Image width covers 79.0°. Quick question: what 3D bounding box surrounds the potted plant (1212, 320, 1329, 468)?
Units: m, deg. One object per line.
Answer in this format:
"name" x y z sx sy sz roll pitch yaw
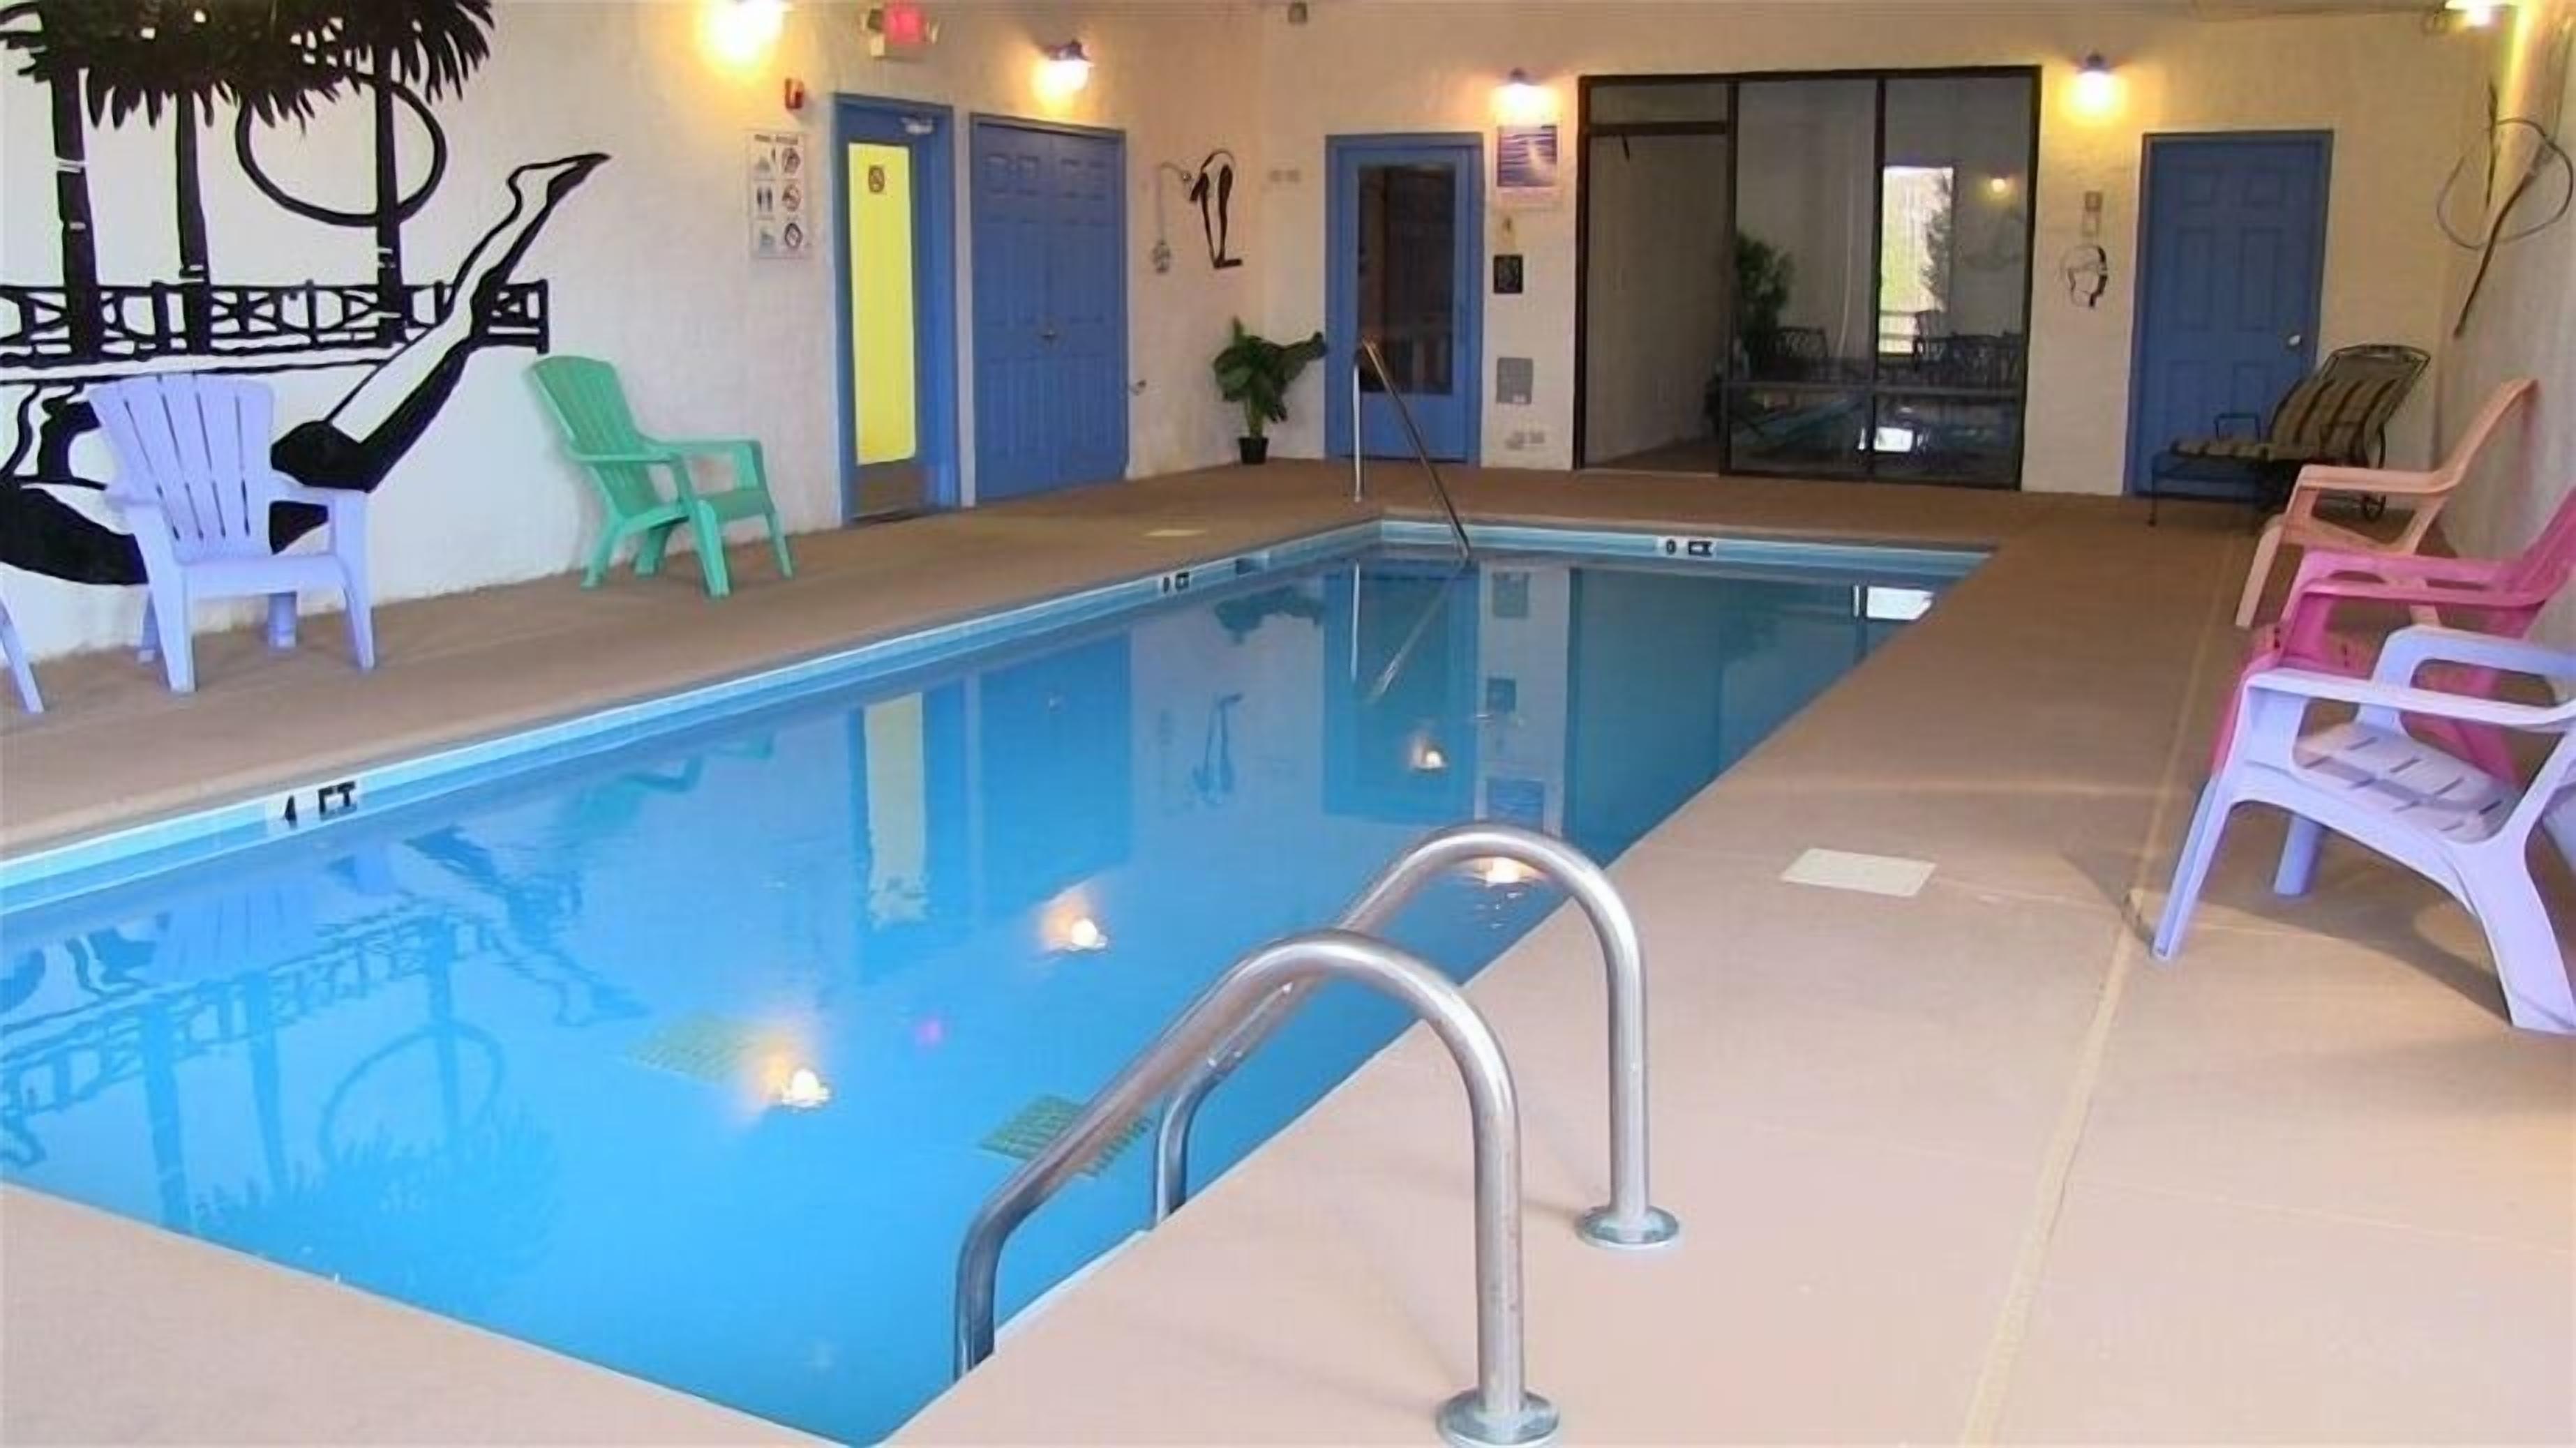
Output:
"potted plant" -0.219 -3.169 14.773 1.341 1.239 1.518 5 14 18

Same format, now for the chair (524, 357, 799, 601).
"chair" -3.786 -1.606 9.662 1.768 1.421 1.263 8 19 14

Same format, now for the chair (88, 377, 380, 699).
"chair" -5.026 -0.970 7.509 0.928 1.320 1.022 -15 26 -33
